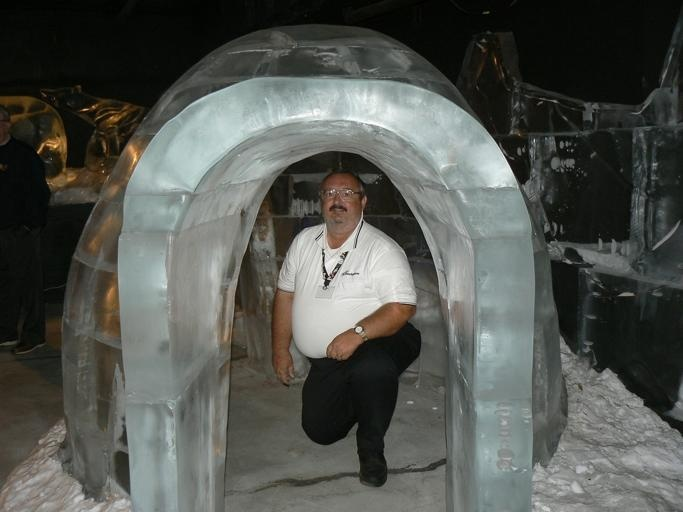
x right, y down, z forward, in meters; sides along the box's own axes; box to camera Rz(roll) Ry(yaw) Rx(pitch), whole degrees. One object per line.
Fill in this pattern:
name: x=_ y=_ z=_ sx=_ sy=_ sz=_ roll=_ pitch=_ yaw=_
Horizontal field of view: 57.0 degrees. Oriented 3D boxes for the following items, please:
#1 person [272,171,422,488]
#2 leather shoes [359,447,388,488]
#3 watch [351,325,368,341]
person: x=0.010 y=0.396 z=4.003 sx=0.940 sy=1.812 sz=0.615 roll=9 pitch=17 yaw=39
leather shoes: x=0.190 y=1.262 z=3.805 sx=0.155 sy=0.145 sz=0.375 roll=-8 pitch=8 yaw=4
watch: x=0.115 y=0.449 z=3.757 sx=0.056 sy=0.100 sz=0.092 roll=-20 pitch=-15 yaw=-3
